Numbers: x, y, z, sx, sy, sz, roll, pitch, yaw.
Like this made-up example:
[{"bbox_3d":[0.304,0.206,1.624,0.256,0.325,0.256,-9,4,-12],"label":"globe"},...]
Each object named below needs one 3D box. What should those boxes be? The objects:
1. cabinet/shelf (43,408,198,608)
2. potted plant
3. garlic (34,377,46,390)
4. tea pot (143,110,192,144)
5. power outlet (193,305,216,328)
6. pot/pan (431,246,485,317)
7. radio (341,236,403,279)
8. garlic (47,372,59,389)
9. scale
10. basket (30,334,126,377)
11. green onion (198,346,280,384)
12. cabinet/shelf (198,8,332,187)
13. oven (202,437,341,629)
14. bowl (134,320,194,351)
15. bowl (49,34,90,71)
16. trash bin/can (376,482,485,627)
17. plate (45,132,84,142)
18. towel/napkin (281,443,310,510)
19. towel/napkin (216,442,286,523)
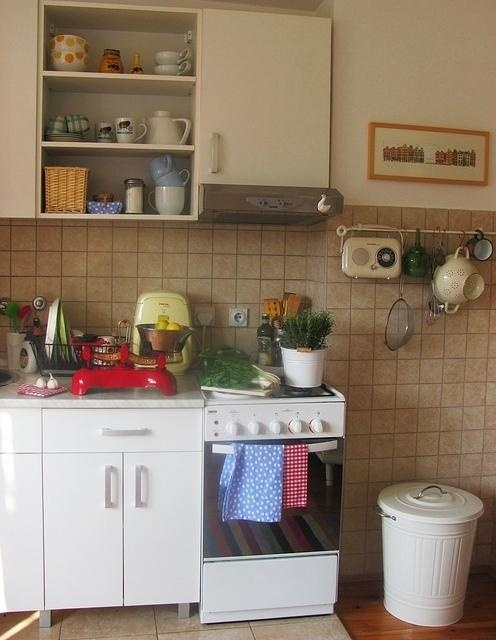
[{"bbox_3d":[-0.441,0.606,2.298,0.585,0.654,0.552,2,9,-11],"label":"cabinet/shelf"},{"bbox_3d":[0.198,0.100,2.210,0.191,0.249,0.211,2,10,-15],"label":"potted plant"},{"bbox_3d":[-0.730,0.223,2.136,0.035,0.040,0.023,2,-32,-2],"label":"garlic"},{"bbox_3d":[-0.316,-0.726,2.329,0.240,0.154,0.138,1,4,-8],"label":"tea pot"},{"bbox_3d":[-0.193,-0.016,2.598,0.106,0.089,0.026,0,4,-7],"label":"power outlet"},{"bbox_3d":[0.833,-0.157,2.440,0.190,0.275,0.211,2,6,16],"label":"pot/pan"},{"bbox_3d":[0.472,-0.245,2.345,0.232,0.157,0.090,0,6,-3],"label":"radio"},{"bbox_3d":[-0.700,0.217,2.174,0.033,0.040,0.027,-12,4,12],"label":"garlic"},{"bbox_3d":[-0.402,0.147,2.148,0.436,0.198,0.191,-4,-3,-6],"label":"scale"},{"bbox_3d":[-0.631,0.128,2.228,0.285,0.089,0.181,-1,1,-12],"label":"basket"},{"bbox_3d":[-0.047,0.160,2.228,0.299,0.094,0.265,2,8,-11],"label":"green onion"},{"bbox_3d":[-0.001,-0.829,2.433,0.627,0.593,0.356,-2,15,-17],"label":"cabinet/shelf"},{"bbox_3d":[0.028,0.708,2.321,0.541,0.617,0.484,1,8,-16],"label":"oven"},{"bbox_3d":[-0.324,0.048,2.335,0.226,0.094,0.186,0,10,-18],"label":"bowl"},{"bbox_3d":[-0.667,-0.986,2.248,0.142,0.102,0.144,-1,0,0],"label":"bowl"},{"bbox_3d":[0.661,0.864,2.359,0.417,0.460,0.415,8,10,44],"label":"trash bin/can"},{"bbox_3d":[-0.692,-0.686,2.292,0.131,0.039,0.047,-2,6,-19],"label":"plate"},{"bbox_3d":[0.157,0.520,2.035,0.112,0.207,0.103,5,10,-11],"label":"towel/napkin"},{"bbox_3d":[-0.011,0.520,2.078,0.235,0.246,0.241,1,8,-13],"label":"towel/napkin"}]
